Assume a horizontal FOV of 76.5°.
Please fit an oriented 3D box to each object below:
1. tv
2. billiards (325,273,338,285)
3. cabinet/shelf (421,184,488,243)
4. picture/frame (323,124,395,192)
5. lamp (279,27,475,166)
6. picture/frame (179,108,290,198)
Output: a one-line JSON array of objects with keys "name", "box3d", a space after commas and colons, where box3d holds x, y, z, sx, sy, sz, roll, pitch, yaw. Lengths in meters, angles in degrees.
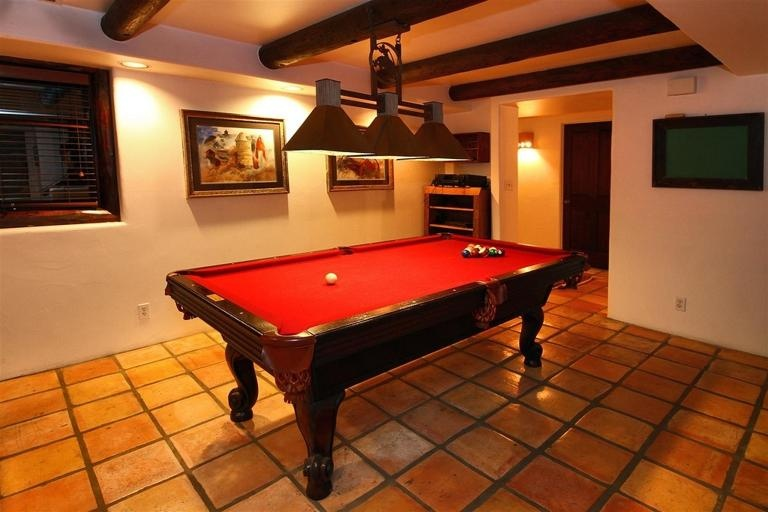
[{"name": "tv", "box3d": [3.498, -1.126, 5.193, 0.097, 0.764, 0.978, -11, 12, -43]}, {"name": "billiards", "box3d": [-0.430, 0.194, 4.084, 0.084, 0.074, 0.100, 1, 4, 3]}, {"name": "cabinet/shelf", "box3d": [1.128, -0.607, 7.497, 0.366, 0.866, 0.996, -4, 11, -41]}, {"name": "picture/frame", "box3d": [-0.325, -1.304, 6.875, 0.988, 0.681, 0.052, 3, 10, 25]}, {"name": "lamp", "box3d": [0.024, -1.439, 4.407, 1.821, 1.018, 0.618, -8, 15, -43]}, {"name": "picture/frame", "box3d": [-1.803, -1.230, 5.744, 1.244, 0.879, 0.047, -6, 6, -38]}]
